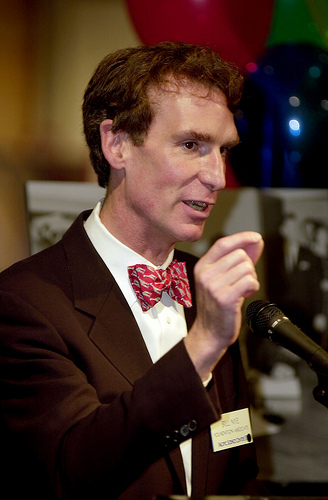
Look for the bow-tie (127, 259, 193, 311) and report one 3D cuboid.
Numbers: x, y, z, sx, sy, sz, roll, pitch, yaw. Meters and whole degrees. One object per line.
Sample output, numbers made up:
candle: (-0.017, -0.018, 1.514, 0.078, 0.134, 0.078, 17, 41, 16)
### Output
bow-tie: (-0.009, 0.121, 1.424, 0.195, 0.241, 0.184, -8, 94, -3)
